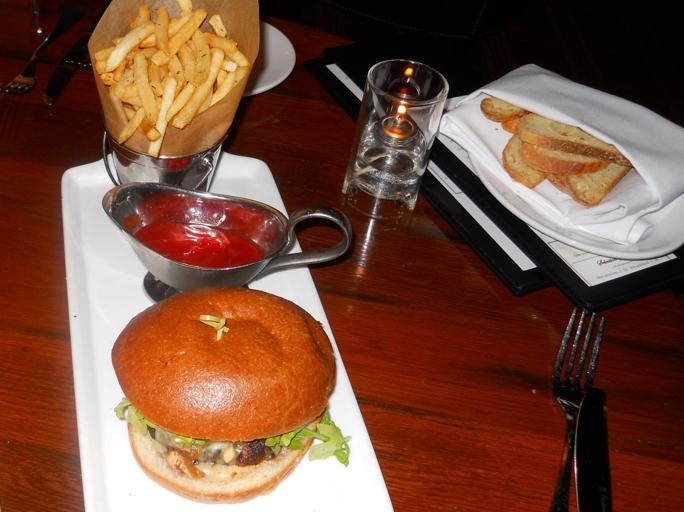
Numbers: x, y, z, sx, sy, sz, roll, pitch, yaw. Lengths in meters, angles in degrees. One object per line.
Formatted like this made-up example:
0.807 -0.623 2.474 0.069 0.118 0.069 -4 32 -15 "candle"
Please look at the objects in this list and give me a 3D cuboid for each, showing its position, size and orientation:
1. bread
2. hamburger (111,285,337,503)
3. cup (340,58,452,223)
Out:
0.560 -0.266 1.585 0.351 0.103 0.353 40 36 28 "bread"
-0.214 0.227 1.105 0.460 0.265 0.432 -16 35 -23 "hamburger"
0.157 -0.307 1.541 0.308 0.457 0.288 7 47 -8 "cup"
